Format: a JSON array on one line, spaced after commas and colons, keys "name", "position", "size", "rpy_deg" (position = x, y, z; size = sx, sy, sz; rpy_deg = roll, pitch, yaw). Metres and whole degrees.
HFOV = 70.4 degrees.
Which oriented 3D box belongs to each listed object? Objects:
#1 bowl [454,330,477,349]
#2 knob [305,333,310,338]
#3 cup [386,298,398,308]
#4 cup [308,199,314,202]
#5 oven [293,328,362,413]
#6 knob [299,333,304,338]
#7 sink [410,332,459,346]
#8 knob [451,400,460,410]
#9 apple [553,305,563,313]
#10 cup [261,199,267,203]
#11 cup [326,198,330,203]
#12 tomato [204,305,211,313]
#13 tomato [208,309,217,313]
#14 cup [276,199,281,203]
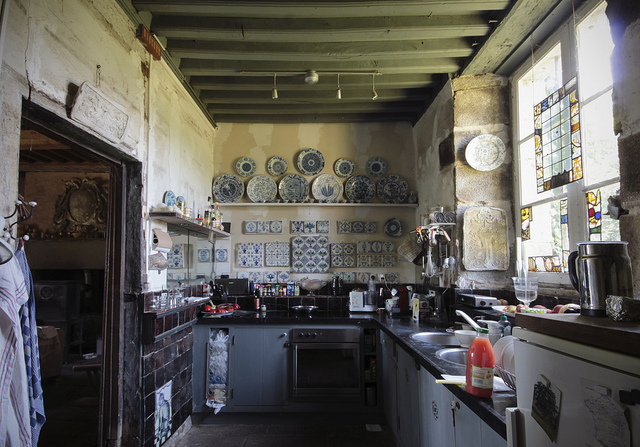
[{"name": "bowl", "position": [1.091, 0.863, 3.430], "size": [0.163, 0.105, 0.169], "rpy_deg": [2, -16, 1]}, {"name": "knob", "position": [-0.123, 1.162, 4.692], "size": [0.039, 0.077, 0.040], "rpy_deg": [-3, -7, 16]}, {"name": "cup", "position": [0.815, 0.892, 5.064], "size": [0.098, 0.077, 0.081], "rpy_deg": [1, -7, 1]}, {"name": "cup", "position": [-0.105, -0.287, 5.641], "size": [0.062, 0.043, 0.072], "rpy_deg": [-3, -7, -1]}, {"name": "oven", "position": [0.061, 1.487, 4.907], "size": [0.957, 0.998, 0.700], "rpy_deg": [0, -21, -1]}, {"name": "knob", "position": [-0.190, 1.152, 4.685], "size": [0.027, 0.030, 0.030], "rpy_deg": [-39, -11, 14]}, {"name": "sink", "position": [0.965, 1.003, 3.945], "size": [0.420, 0.109, 0.173], "rpy_deg": [-2, -7, -9]}, {"name": "knob", "position": [0.831, 1.118, 2.800], "size": [0.014, 0.055, 0.081], "rpy_deg": [-1, -7, -18]}, {"name": "apple", "position": [1.473, 0.529, 2.842], "size": [0.050, 0.046, 0.063], "rpy_deg": [14, -21, -31]}, {"name": "cup", "position": [-0.693, -0.281, 5.636], "size": [0.054, 0.057, 0.033], "rpy_deg": [6, -29, -8]}, {"name": "cup", "position": [0.101, -0.291, 5.642], "size": [0.034, 0.048, 0.046], "rpy_deg": [0, -26, -1]}, {"name": "tomato", "position": [-1.205, 0.924, 4.908], "size": [0.055, 0.058, 0.056], "rpy_deg": [-1, 0, 5]}, {"name": "tomato", "position": [-1.153, 0.945, 4.906], "size": [0.045, 0.027, 0.039], "rpy_deg": [7, -3, 3]}, {"name": "cup", "position": [-0.505, -0.284, 5.625], "size": [0.036, 0.027, 0.037], "rpy_deg": [2, -8, 0]}]
